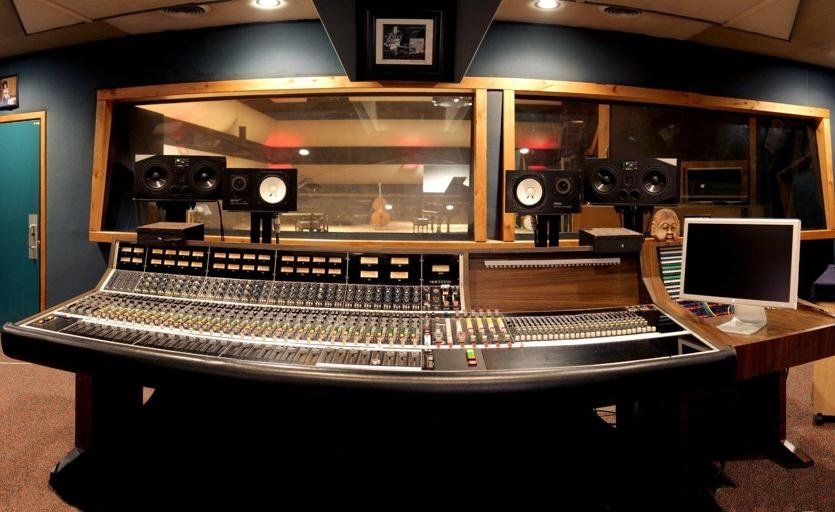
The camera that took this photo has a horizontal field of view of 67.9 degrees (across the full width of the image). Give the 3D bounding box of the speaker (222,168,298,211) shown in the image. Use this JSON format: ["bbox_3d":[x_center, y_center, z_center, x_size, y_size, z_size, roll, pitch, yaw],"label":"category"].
[{"bbox_3d":[-1.285,-0.540,5.093,0.638,0.377,0.361,0,0,-5],"label":"speaker"}]

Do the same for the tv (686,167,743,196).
[{"bbox_3d":[3.425,-0.842,7.118,0.742,0.351,0.099,-1,5,-15],"label":"tv"}]

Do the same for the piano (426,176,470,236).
[{"bbox_3d":[0.360,-0.533,6.745,0.637,0.614,0.476,0,7,-1],"label":"piano"}]

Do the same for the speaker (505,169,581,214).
[{"bbox_3d":[1.073,-0.525,5.186,0.671,0.366,0.366,0,3,2],"label":"speaker"}]
